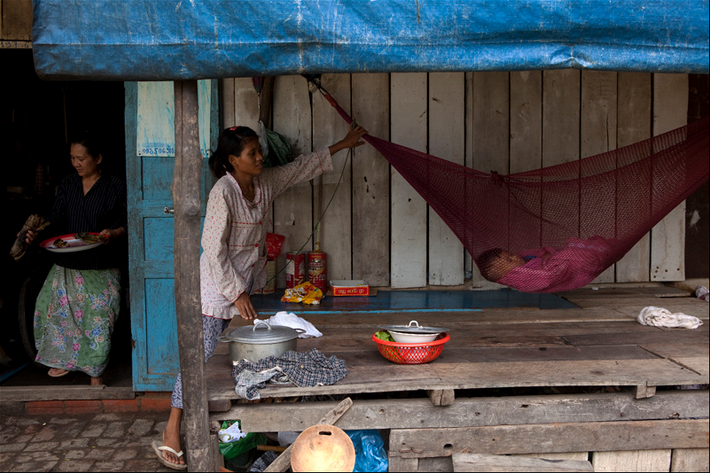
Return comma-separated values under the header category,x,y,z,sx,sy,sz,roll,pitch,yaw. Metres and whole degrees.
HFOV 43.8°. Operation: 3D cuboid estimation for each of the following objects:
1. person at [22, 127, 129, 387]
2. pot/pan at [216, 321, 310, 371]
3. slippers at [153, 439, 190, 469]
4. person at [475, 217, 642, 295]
category,x,y,z,sx,sy,sz,roll,pitch,yaw
person,-2.351,0.200,7.592,0.883,2.083,0.584,-3,14,-9
pot/pan,-0.646,0.796,6.360,0.537,0.314,0.310,-1,14,0
slippers,-1.375,1.653,6.700,0.289,0.089,0.157,29,14,33
person,1.712,0.230,7.398,1.436,0.522,0.522,-16,-20,7
